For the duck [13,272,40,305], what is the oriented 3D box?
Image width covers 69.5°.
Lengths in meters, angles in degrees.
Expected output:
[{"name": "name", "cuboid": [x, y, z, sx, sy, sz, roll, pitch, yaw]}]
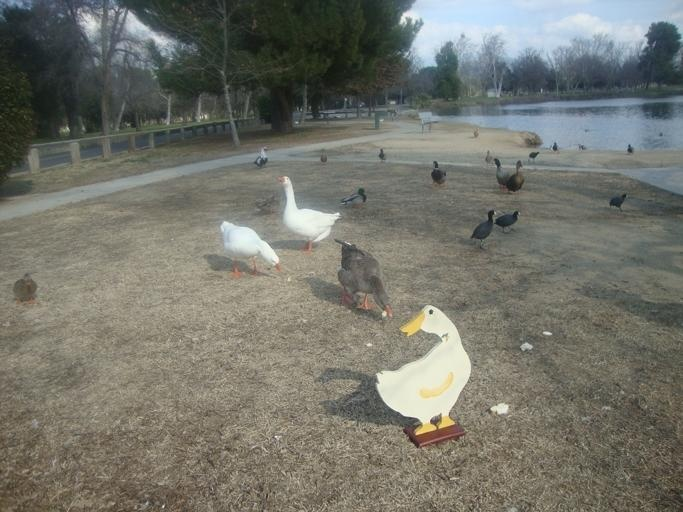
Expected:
[{"name": "duck", "cuboid": [-5.553, 0.596, 8.632, 0.256, 0.436, 0.327, 43, 36, 20]}]

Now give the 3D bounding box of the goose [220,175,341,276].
[{"name": "goose", "cuboid": [-1.300, -0.538, 9.896, 1.443, 1.654, 2.293, 9, 23, 32]}]

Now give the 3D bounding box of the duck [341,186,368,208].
[{"name": "duck", "cuboid": [0.408, -1.711, 14.375, 0.812, 0.630, 0.448, -6, 17, -36]}]

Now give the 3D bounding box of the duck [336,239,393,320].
[{"name": "duck", "cuboid": [0.327, 0.381, 8.149, 0.915, 1.342, 1.043, 3, 12, -12]}]
